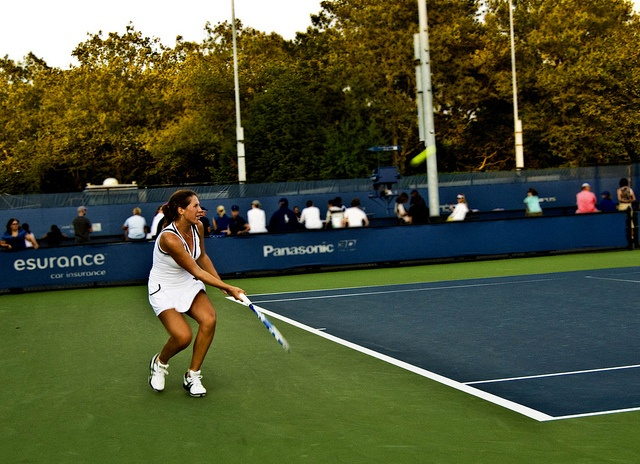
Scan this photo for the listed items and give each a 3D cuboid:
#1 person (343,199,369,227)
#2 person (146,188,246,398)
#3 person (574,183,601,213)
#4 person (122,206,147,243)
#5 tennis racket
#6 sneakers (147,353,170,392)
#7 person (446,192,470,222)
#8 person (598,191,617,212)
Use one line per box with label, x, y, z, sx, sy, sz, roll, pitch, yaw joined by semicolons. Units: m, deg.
person;0.966;-0.485;20.502;0.649;0.849;1.743;-2;7;1
person;-1.623;0.734;8.855;1.032;2.452;0.646;-2;8;1
person;7.897;-0.983;21.858;0.489;0.822;1.658;1;7;18
person;-5.139;-0.190;20.453;0.571;0.971;1.277;-4;7;-14
tennis racket;-0.914;1.473;11.848;1.319;0.246;0.151;48;-1;38
sneakers;-1.994;1.746;9.001;0.177;0.513;0.223;6;-25;-46
person;3.979;-0.662;21.288;0.586;0.733;1.903;0;7;12
person;8.470;-0.854;21.749;0.450;0.564;1.636;1;7;22
